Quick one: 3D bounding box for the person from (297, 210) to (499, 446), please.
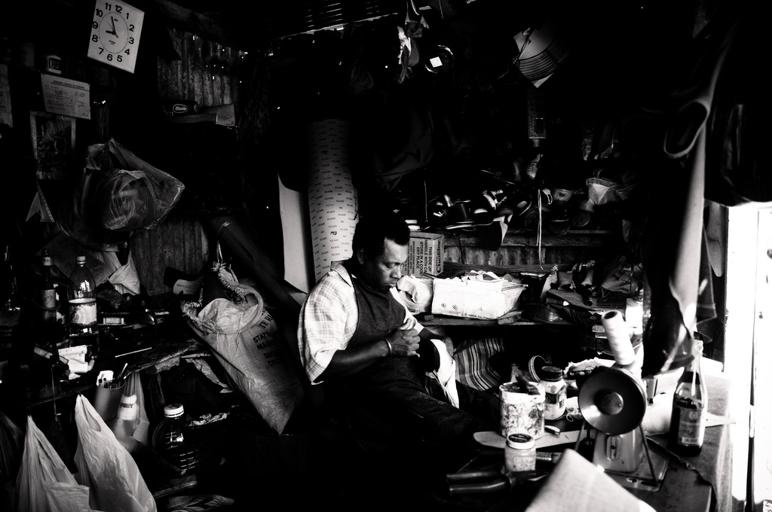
[{"bbox_3d":[0.063,0.661,3.987,1.146,1.645,1.009,12,13,23],"label":"person"}]

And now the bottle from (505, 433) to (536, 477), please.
[{"bbox_3d":[0.616,0.910,2.847,0.153,0.162,0.161,6,16,29],"label":"bottle"}]
